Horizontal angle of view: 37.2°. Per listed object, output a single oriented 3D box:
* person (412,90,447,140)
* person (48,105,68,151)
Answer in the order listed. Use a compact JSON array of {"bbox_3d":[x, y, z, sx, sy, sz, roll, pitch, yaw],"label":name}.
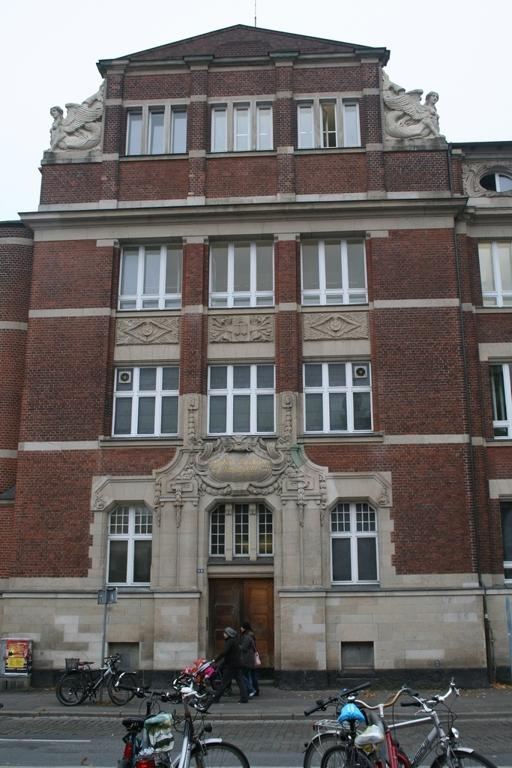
[{"bbox_3d":[5.029,-7.719,21.916,0.584,1.537,0.313,-3,-22,4],"label":"person"},{"bbox_3d":[-5.930,-7.631,22.709,0.429,1.489,0.301,1,-22,-6],"label":"person"}]
